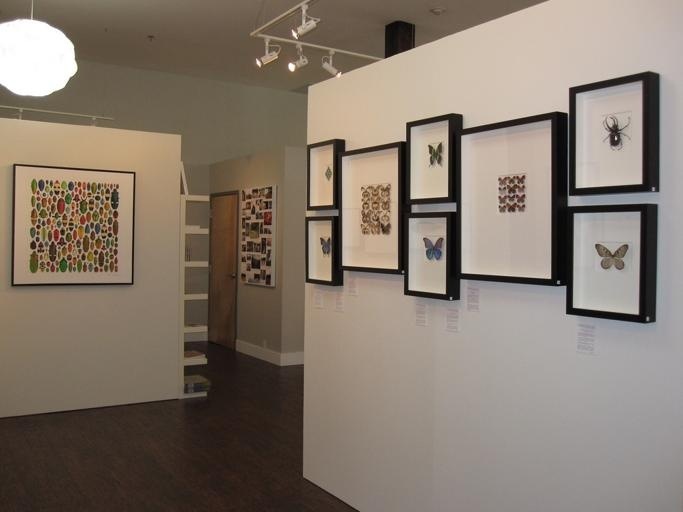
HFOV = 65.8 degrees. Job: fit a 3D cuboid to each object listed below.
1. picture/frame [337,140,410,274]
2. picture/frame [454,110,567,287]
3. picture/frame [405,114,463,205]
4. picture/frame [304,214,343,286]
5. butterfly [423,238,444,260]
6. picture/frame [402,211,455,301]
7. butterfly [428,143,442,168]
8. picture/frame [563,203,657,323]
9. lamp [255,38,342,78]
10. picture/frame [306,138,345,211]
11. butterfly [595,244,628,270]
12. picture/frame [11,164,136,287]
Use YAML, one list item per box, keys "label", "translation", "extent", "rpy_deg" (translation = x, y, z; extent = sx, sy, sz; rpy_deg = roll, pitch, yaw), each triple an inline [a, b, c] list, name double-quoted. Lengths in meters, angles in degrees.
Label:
- label: "picture/frame"
  translation: [0.239, -0.338, 3.664]
  extent: [0.083, 1.257, 0.823]
  rpy_deg: [2, -2, -37]
- label: "picture/frame"
  translation: [0.941, -0.316, 2.878]
  extent: [0.078, 1.270, 0.865]
  rpy_deg: [1, -2, -38]
- label: "picture/frame"
  translation: [0.579, -0.592, 3.260]
  extent: [0.111, 0.796, 0.516]
  rpy_deg: [-1, 2, -37]
- label: "picture/frame"
  translation: [-0.129, -0.052, 4.042]
  extent: [0.099, 0.746, 0.469]
  rpy_deg: [-3, 4, -34]
- label: "butterfly"
  translation: [0.569, -0.045, 3.263]
  extent: [0.112, 0.122, 0.020]
  rpy_deg: [-1, -3, 44]
- label: "picture/frame"
  translation: [0.550, -0.007, 3.275]
  extent: [0.102, 0.750, 0.483]
  rpy_deg: [2, -2, -39]
- label: "butterfly"
  translation: [0.581, -0.628, 3.276]
  extent: [0.019, 0.163, 0.140]
  rpy_deg: [2, -2, -35]
- label: "picture/frame"
  translation: [1.276, 0.027, 2.483]
  extent: [0.095, 0.771, 0.496]
  rpy_deg: [1, 0, -43]
- label: "lamp"
  translation: [-0.629, -3.017, 7.966]
  extent: [0.248, 0.572, 1.534]
  rpy_deg: [6, 7, -31]
- label: "picture/frame"
  translation: [-0.114, -0.618, 4.034]
  extent: [0.116, 0.811, 0.513]
  rpy_deg: [0, 0, -32]
- label: "butterfly"
  translation: [1.272, 0.002, 2.481]
  extent: [0.099, 0.089, 0.026]
  rpy_deg: [4, 7, 44]
- label: "picture/frame"
  translation: [-2.968, -0.345, 5.730]
  extent: [1.129, 1.370, 0.023]
  rpy_deg: [0, 2, -29]
